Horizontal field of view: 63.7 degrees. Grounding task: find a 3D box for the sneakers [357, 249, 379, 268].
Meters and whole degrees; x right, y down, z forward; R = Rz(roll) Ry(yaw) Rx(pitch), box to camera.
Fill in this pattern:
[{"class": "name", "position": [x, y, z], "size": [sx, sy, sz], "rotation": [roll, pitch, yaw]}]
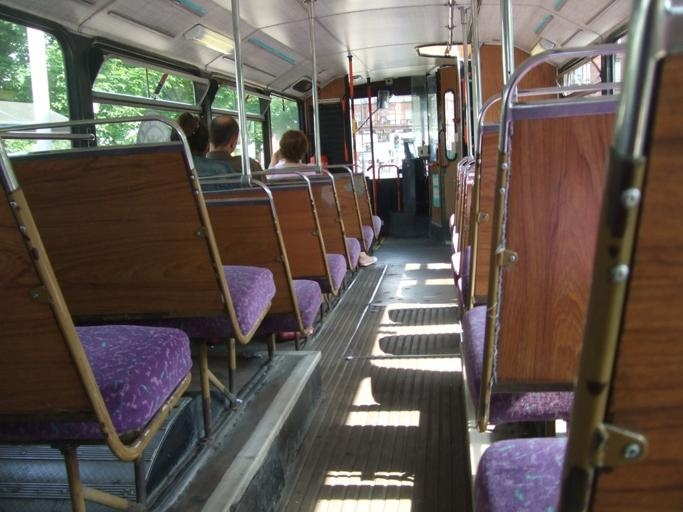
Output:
[{"class": "sneakers", "position": [0.364, 0.070, 7.932], "size": [0.130, 0.175, 0.391], "rotation": [7, 7, 40]}]
